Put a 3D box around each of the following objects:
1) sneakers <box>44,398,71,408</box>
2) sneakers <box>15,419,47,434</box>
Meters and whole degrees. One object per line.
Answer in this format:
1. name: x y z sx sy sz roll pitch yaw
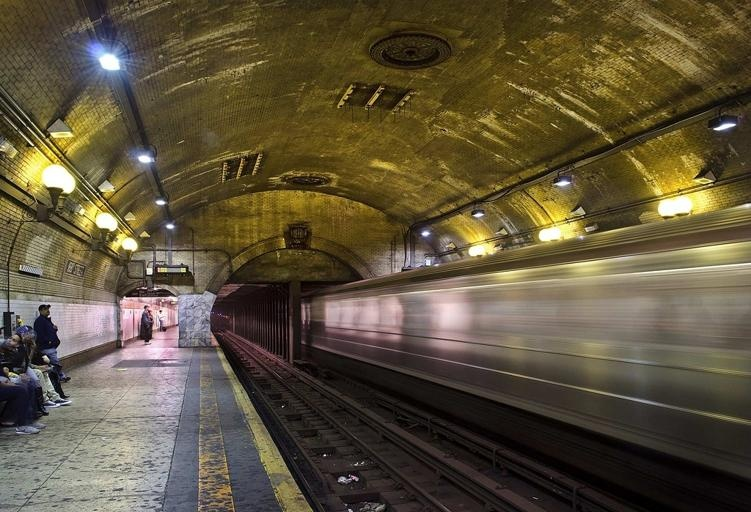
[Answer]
1. sneakers: -7.157 3.323 8.181 0.591 0.115 0.155 2 -7 -10
2. sneakers: -5.897 2.945 6.211 0.372 0.155 0.431 9 -13 -31
